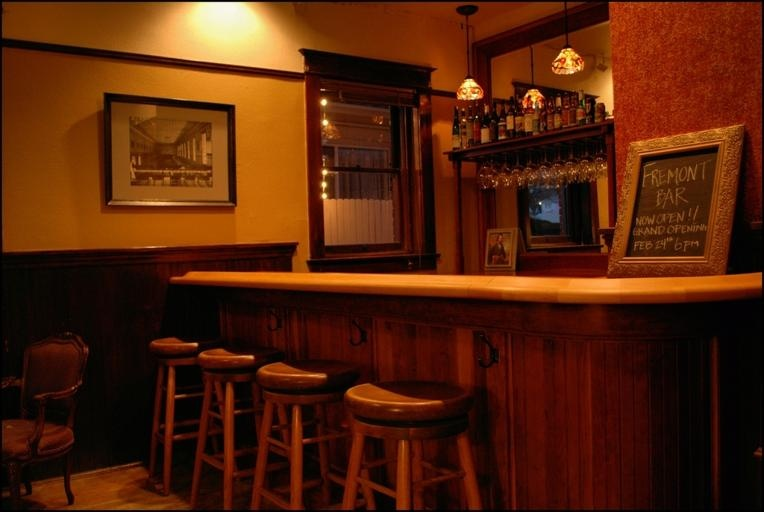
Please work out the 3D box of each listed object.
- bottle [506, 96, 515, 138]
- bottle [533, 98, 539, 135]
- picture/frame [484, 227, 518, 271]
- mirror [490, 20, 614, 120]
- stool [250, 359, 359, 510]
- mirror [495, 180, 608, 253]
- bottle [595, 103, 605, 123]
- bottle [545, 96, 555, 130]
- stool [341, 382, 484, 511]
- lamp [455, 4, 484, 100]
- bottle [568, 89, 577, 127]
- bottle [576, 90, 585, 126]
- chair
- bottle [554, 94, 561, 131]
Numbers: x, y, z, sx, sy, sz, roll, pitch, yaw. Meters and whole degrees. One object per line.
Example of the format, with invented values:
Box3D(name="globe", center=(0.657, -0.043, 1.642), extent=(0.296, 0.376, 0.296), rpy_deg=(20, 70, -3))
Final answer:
Box3D(name="bottle", center=(1.194, -1.286, 5.675), extent=(0.090, 0.381, 0.318), rpy_deg=(-1, 4, 12))
Box3D(name="bottle", center=(1.367, -1.207, 5.387), extent=(0.054, 0.245, 0.137), rpy_deg=(-1, 4, 13))
Box3D(name="picture/frame", center=(1.108, -0.050, 5.677), extent=(0.303, 0.398, 0.217), rpy_deg=(0, 4, 21))
Box3D(name="mirror", center=(1.695, -1.948, 6.291), extent=(1.745, 1.042, 0.088), rpy_deg=(-5, 8, -29))
Box3D(name="stool", center=(-0.474, 1.088, 3.578), extent=(0.613, 0.994, 0.935), rpy_deg=(-3, 4, -12))
Box3D(name="mirror", center=(1.798, -0.412, 6.626), extent=(0.850, 0.793, 0.327), rpy_deg=(1, -4, -20))
Box3D(name="bottle", center=(1.805, -1.187, 5.026), extent=(0.088, 0.141, 0.092), rpy_deg=(-2, 4, 0))
Box3D(name="bottle", center=(1.501, -1.274, 5.448), extent=(0.075, 0.333, 0.370), rpy_deg=(-1, 4, 15))
Box3D(name="stool", center=(0.135, 0.994, 3.049), extent=(0.658, 0.690, 0.649), rpy_deg=(0, -1, -40))
Box3D(name="lamp", center=(0.868, -1.968, 6.024), extent=(0.278, 0.977, 1.082), rpy_deg=(-1, 4, 10))
Box3D(name="bottle", center=(1.652, -1.279, 5.297), extent=(0.103, 0.325, 0.374), rpy_deg=(-1, 4, 17))
Box3D(name="bottle", center=(1.714, -1.251, 5.244), extent=(0.067, 0.279, 0.351), rpy_deg=(-1, 4, 18))
Box3D(name="chair", center=(-2.214, 1.093, 4.010), extent=(0.529, 1.096, 0.739), rpy_deg=(-4, 5, -28))
Box3D(name="bottle", center=(1.542, -1.257, 5.329), extent=(0.065, 0.300, 0.216), rpy_deg=(-1, 4, 16))
